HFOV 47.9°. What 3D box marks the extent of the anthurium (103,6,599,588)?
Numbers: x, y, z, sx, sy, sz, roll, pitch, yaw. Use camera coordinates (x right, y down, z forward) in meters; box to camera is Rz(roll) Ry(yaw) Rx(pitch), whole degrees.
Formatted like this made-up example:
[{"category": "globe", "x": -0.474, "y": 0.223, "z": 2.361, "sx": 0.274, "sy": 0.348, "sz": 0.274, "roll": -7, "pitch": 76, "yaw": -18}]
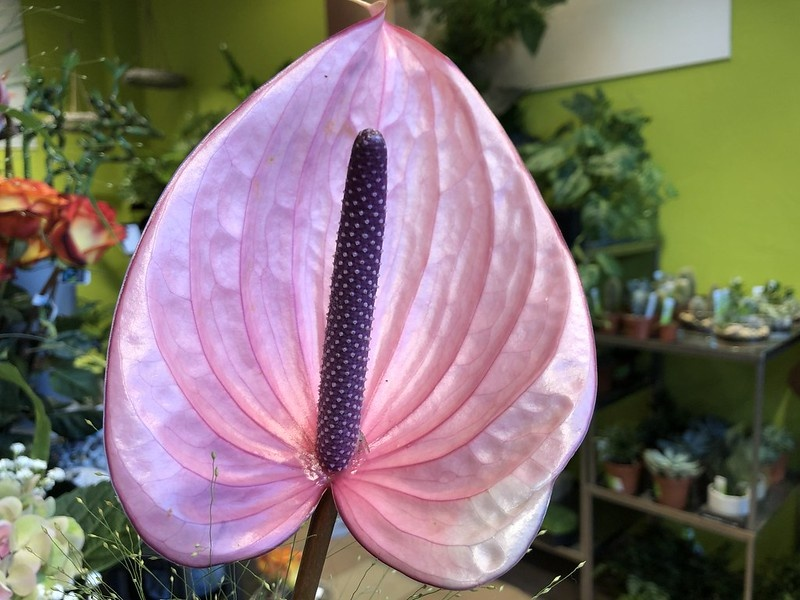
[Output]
[{"category": "anthurium", "x": -0.049, "y": 0.023, "z": 0.723, "sx": 0.338, "sy": 0.478, "sz": 0.122, "roll": 1, "pitch": -3, "yaw": 11}]
